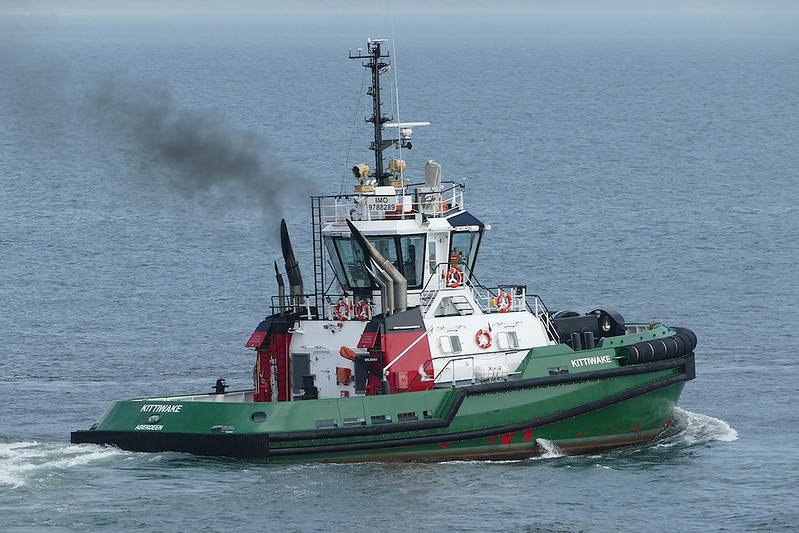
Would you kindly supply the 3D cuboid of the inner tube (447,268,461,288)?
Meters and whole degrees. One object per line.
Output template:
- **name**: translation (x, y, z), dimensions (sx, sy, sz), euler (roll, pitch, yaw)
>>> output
- **inner tube**: translation (1.852, 0.440, 54.999), dimensions (0.761, 0.572, 0.217), euler (-13, 5, -28)

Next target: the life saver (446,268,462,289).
- **life saver**: translation (1.861, 0.437, 55.009), dimensions (0.762, 0.583, 0.223), euler (-11, 4, -27)

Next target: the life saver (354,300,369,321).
- **life saver**: translation (-1.328, 1.535, 54.279), dimensions (0.469, 0.559, 0.634), euler (-8, 10, -22)
